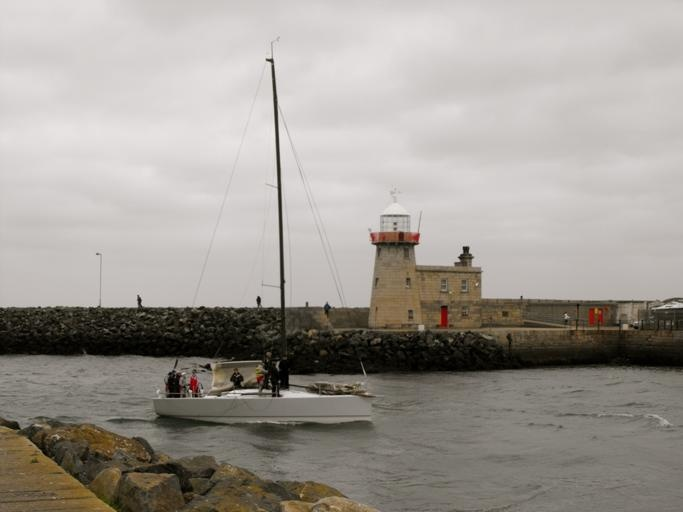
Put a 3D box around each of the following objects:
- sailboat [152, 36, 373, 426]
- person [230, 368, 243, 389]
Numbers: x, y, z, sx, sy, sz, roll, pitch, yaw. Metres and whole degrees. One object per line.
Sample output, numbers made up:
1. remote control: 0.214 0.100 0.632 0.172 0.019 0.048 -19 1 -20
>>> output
1. sailboat: -4.035 -0.064 51.677 11.132 15.214 3.251 -3 5 23
2. person: -4.911 5.772 52.051 0.744 1.055 0.632 -3 -34 -6
